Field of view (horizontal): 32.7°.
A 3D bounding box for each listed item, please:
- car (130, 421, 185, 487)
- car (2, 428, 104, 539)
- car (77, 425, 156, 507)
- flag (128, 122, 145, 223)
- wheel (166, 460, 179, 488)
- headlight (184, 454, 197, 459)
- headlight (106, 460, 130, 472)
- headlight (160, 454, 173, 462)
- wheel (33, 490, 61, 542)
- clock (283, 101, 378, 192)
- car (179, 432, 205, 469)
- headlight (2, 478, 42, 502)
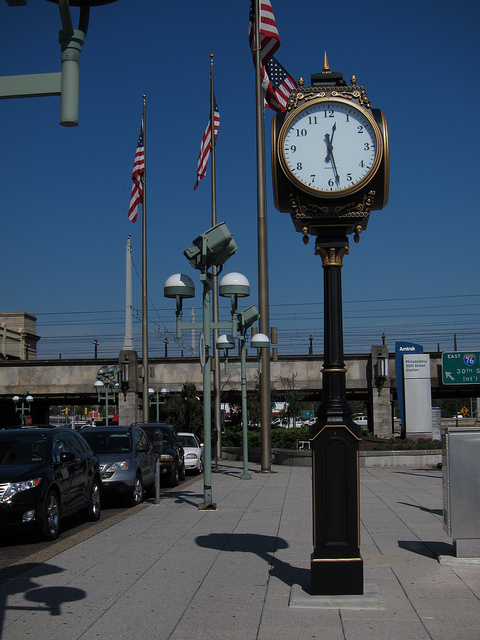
[{"bbox_3d":[-2.198,3.350,20.220,1.099,2.090,1.830,0,-3,1],"label":"car"},{"bbox_3d":[-2.755,2.195,11.259,0.793,0.910,1.853,-3,-14,4],"label":"car"},{"bbox_3d":[-2.393,3.022,16.436,1.266,1.622,3.026,-9,-9,5],"label":"car"},{"bbox_3d":[-4.219,-6.125,33.463,0.655,4.410,3.709,-1,-4,-7],"label":"flag"},{"bbox_3d":[-1.635,3.739,19.772,0.212,0.752,0.642,-1,-1,0],"label":"wheel"},{"bbox_3d":[-1.462,4.139,24.627,0.374,0.135,0.168,-2,-5,-13],"label":"headlight"},{"bbox_3d":[-2.233,2.705,15.038,0.522,0.151,0.233,0,-6,-35],"label":"headlight"},{"bbox_3d":[-1.742,3.293,19.442,0.125,0.084,0.199,-2,-4,0],"label":"headlight"},{"bbox_3d":[-2.499,2.559,10.652,0.150,0.645,0.557,-4,-7,2],"label":"wheel"},{"bbox_3d":[0.806,-1.564,7.378,0.798,0.813,0.100,-3,-4,9],"label":"clock"},{"bbox_3d":[-1.530,4.058,25.715,0.995,1.160,2.582,-1,-12,3],"label":"car"},{"bbox_3d":[-2.763,2.137,10.254,0.130,0.306,0.598,5,1,37],"label":"headlight"}]
